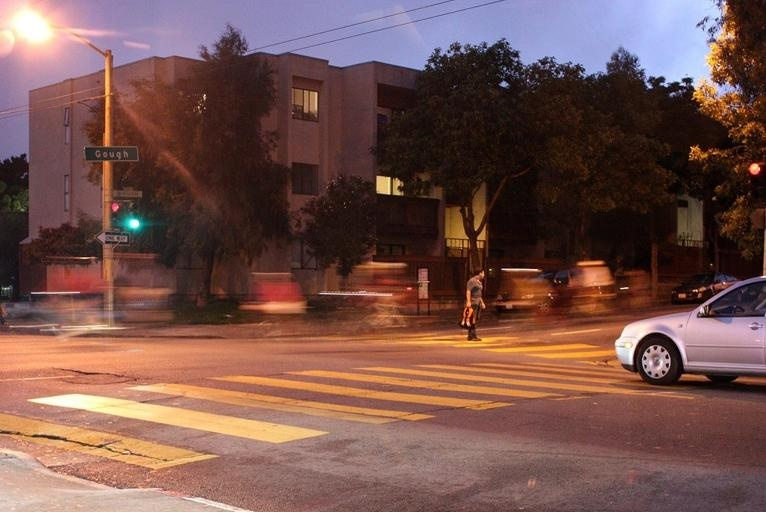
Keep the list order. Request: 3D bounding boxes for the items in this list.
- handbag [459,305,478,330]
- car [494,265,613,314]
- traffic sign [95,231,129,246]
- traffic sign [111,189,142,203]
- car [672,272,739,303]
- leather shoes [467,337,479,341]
[{"bbox_3d":[2.851,2.051,24.595,0.453,0.759,0.728,1,-5,-8],"label":"handbag"},{"bbox_3d":[9.115,1.578,38.380,5.707,2.621,2.331,2,-5,-22],"label":"car"},{"bbox_3d":[-10.556,-0.672,28.993,1.167,0.501,0.399,2,-5,-24],"label":"traffic sign"},{"bbox_3d":[-10.101,-2.393,29.137,1.060,0.284,1.139,-1,6,-4],"label":"traffic sign"},{"bbox_3d":[15.676,1.589,36.448,4.136,1.280,1.731,2,-5,-41],"label":"car"},{"bbox_3d":[3.008,2.806,24.836,0.399,0.246,0.144,-3,-3,6],"label":"leather shoes"}]
